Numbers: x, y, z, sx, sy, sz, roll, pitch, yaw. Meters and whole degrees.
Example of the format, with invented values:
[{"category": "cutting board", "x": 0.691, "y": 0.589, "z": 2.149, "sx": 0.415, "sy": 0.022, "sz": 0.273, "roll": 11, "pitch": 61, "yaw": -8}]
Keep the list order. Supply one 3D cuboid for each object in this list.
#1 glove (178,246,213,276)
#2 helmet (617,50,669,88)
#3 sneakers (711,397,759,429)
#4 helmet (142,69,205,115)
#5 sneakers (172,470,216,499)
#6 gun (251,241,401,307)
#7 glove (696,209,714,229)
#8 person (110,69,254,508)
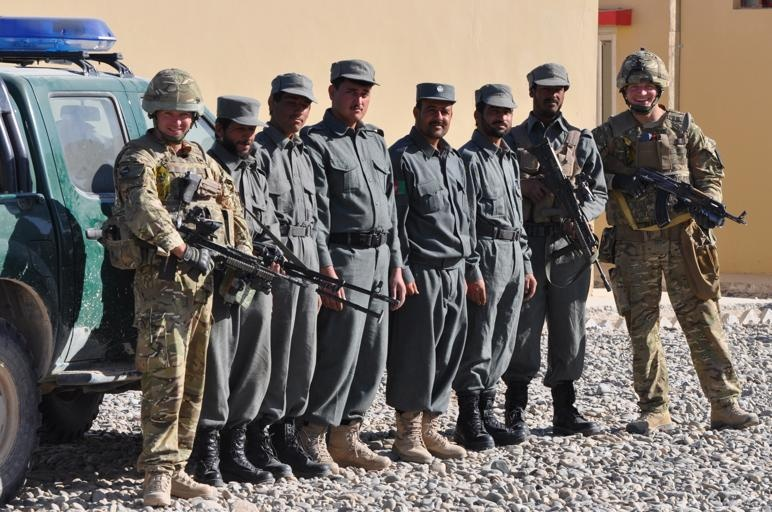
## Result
[{"category": "glove", "x": -1.057, "y": 0.022, "z": 4.915, "sx": 0.233, "sy": 0.160, "sz": 0.102, "roll": 2, "pitch": -6, "yaw": -38}, {"category": "helmet", "x": 1.970, "y": -1.457, "z": 6.717, "sx": 0.288, "sy": 0.299, "sz": 0.331, "roll": 2, "pitch": 15, "yaw": 6}, {"category": "sneakers", "x": 2.653, "y": 1.214, "z": 6.753, "sx": 0.443, "sy": 0.250, "sz": 0.160, "roll": -3, "pitch": 4, "yaw": 7}, {"category": "helmet", "x": -1.191, "y": -0.935, "z": 4.952, "sx": 0.258, "sy": 0.276, "sz": 0.293, "roll": 2, "pitch": 15, "yaw": -19}, {"category": "sneakers", "x": -1.095, "y": 1.357, "z": 5.184, "sx": 0.326, "sy": 0.142, "sz": 0.110, "roll": 6, "pitch": 7, "yaw": -7}, {"category": "gun", "x": -0.421, "y": 0.114, "z": 5.522, "sx": 1.037, "sy": 0.298, "sz": 0.084, "roll": 19, "pitch": 4, "yaw": -2}, {"category": "glove", "x": 2.410, "y": -0.287, "z": 6.566, "sx": 0.112, "sy": 0.122, "sz": 0.140, "roll": 1, "pitch": -6, "yaw": -37}, {"category": "person", "x": -1.196, "y": 0.173, "z": 5.031, "sx": 0.490, "sy": 2.495, "sz": 0.656, "roll": -5, "pitch": -6, "yaw": 36}]
